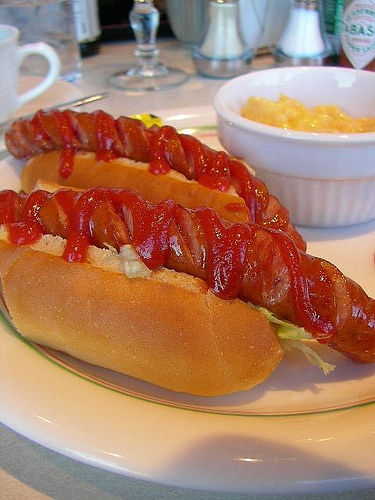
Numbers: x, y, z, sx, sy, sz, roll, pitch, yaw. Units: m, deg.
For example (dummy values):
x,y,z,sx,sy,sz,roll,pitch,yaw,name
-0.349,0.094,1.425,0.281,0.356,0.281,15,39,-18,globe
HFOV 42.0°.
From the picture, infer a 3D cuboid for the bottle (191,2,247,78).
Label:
x,y,z,sx,sy,sz,roll,pitch,yaw,name
0.176,-1.131,2.612,0.340,0.326,0.298,-14,45,-15,bottle
